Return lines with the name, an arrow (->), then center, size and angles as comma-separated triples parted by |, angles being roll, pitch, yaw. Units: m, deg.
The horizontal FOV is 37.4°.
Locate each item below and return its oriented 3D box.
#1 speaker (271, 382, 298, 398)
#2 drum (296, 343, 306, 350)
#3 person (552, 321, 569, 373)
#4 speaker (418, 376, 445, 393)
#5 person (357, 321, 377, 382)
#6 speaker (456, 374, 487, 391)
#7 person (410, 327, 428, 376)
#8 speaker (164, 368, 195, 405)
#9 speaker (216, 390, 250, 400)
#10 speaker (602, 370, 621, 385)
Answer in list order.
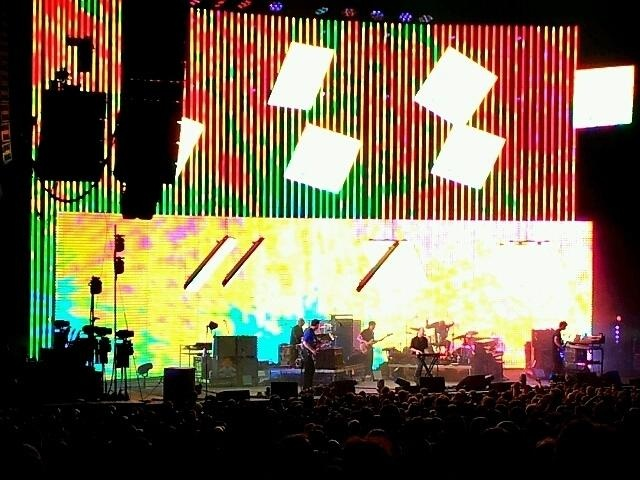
speaker -> -0.590, 2.462, 15.462 | 0.308, 0.213, 0.094 | -1, -13, 0
drum -> -0.417, 2.264, 19.876 | 0.212, 0.157, 0.212 | 1, -21, 0
person -> 5.170, 2.343, 20.531 | 0.304, 1.225, 2.353 | -1, -10, 14
speaker -> 1.910, 2.467, 16.139 | 0.463, 0.290, 0.247 | 0, -10, -1
person -> 1.052, 2.538, 21.738 | 0.375, 1.322, 0.747 | 1, -9, 2
speaker -> 2.568, 2.445, 16.126 | 0.387, 0.256, 0.279 | 1, 0, -32
person -> 2.074, 2.373, 19.862 | 0.346, 1.097, 1.134 | 0, -9, 6
speaker -> -2.526, 2.625, 16.893 | 0.679, 0.672, 0.681 | 0, -3, 16
speaker -> -1.308, 2.385, 14.465 | 0.270, 0.084, 0.272 | -3, -5, 27
speaker -> 5.039, 2.405, 16.419 | 0.246, 0.273, 0.070 | -3, -54, 21
